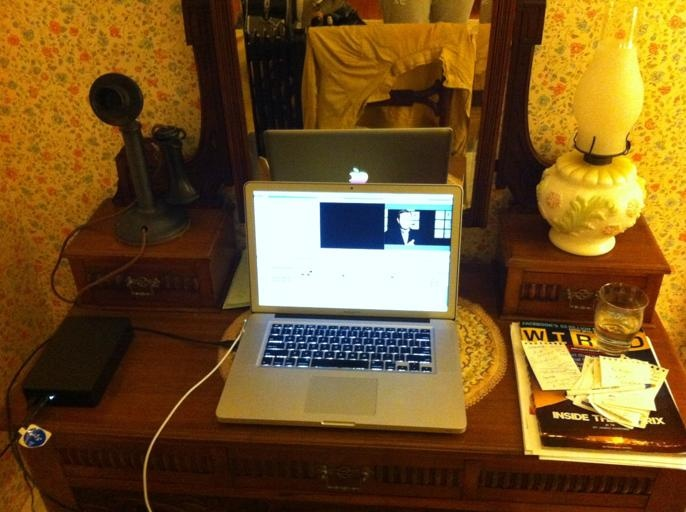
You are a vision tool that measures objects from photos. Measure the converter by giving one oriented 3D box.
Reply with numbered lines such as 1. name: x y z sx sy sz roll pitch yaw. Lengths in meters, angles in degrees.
1. converter: -0.708 0.264 1.489 0.177 0.052 0.234 1 37 2

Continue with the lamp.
1. lamp: 0.712 -0.297 1.494 0.279 0.539 0.339 20 46 24

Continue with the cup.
1. cup: 0.757 0.185 1.535 0.135 0.188 0.128 6 9 -1
